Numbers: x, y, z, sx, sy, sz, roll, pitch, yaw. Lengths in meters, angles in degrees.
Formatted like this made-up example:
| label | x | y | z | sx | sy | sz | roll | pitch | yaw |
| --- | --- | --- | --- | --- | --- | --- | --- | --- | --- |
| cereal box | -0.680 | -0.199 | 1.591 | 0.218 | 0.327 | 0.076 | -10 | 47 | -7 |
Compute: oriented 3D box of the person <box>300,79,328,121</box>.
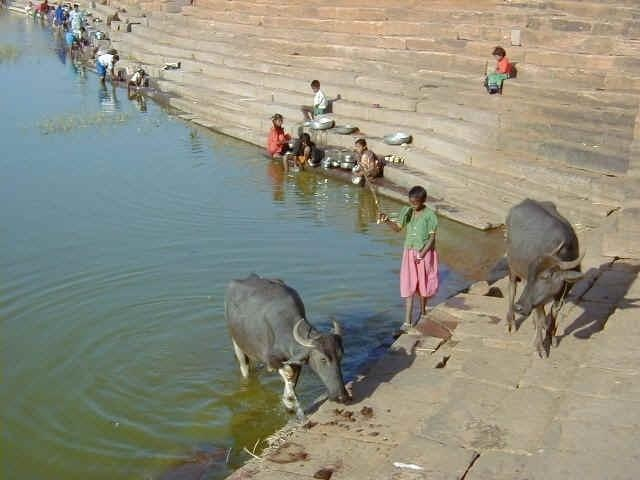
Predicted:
| label | x | y | z | sx | sy | sz | roll | pitch | yaw |
| --- | --- | --- | --- | --- | --- | --- | --- | --- | --- |
| person | -0.110 | -3.653 | 20.846 | 0.724 | 1.138 | 1.354 | 3 | 20 | -1 |

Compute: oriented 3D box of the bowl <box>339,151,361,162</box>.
| label | x | y | z | sx | sy | sz | roll | pitch | yaw |
| --- | --- | --- | --- | --- | --- | --- | --- | --- | --- |
| bowl | 0.662 | -1.951 | 18.792 | 0.290 | 0.117 | 0.299 | 1 | 17 | 0 |

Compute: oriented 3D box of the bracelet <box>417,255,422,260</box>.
| label | x | y | z | sx | sy | sz | roll | pitch | yaw |
| --- | --- | --- | --- | --- | --- | --- | --- | --- | --- |
| bracelet | 1.474 | 0.265 | 11.832 | 0.086 | 0.062 | 0.048 | -1 | -23 | 4 |

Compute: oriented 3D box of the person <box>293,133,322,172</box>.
| label | x | y | z | sx | sy | sz | roll | pitch | yaw |
| --- | --- | --- | --- | --- | --- | --- | --- | --- | --- |
| person | -0.299 | -2.153 | 19.257 | 0.761 | 0.882 | 0.477 | 3 | 20 | -3 |

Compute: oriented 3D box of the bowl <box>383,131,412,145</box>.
| label | x | y | z | sx | sy | sz | roll | pitch | yaw |
| --- | --- | --- | --- | --- | --- | --- | --- | --- | --- |
| bowl | 1.830 | -2.370 | 18.711 | 0.688 | 0.300 | 0.368 | 6 | 20 | 5 |

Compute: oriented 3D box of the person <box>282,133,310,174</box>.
| label | x | y | z | sx | sy | sz | roll | pitch | yaw |
| --- | --- | --- | --- | --- | --- | --- | --- | --- | --- |
| person | -0.498 | -2.071 | 19.264 | 0.323 | 0.916 | 0.668 | 7 | 20 | -30 |

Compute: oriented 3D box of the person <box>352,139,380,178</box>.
| label | x | y | z | sx | sy | sz | roll | pitch | yaw |
| --- | --- | --- | --- | --- | --- | --- | --- | --- | --- |
| person | 1.103 | -1.780 | 17.662 | 0.631 | 0.945 | 0.827 | 5 | 20 | 3 |

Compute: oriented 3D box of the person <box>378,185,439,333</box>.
| label | x | y | z | sx | sy | sz | roll | pitch | yaw |
| --- | --- | --- | --- | --- | --- | --- | --- | --- | --- |
| person | 1.430 | 0.212 | 11.996 | 0.695 | 2.107 | 0.581 | -14 | 26 | -38 |

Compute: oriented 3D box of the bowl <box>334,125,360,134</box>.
| label | x | y | z | sx | sy | sz | roll | pitch | yaw |
| --- | --- | --- | --- | --- | --- | --- | --- | --- | --- |
| bowl | 0.632 | -2.769 | 19.986 | 0.619 | 0.161 | 0.611 | 4 | 20 | -1 |
